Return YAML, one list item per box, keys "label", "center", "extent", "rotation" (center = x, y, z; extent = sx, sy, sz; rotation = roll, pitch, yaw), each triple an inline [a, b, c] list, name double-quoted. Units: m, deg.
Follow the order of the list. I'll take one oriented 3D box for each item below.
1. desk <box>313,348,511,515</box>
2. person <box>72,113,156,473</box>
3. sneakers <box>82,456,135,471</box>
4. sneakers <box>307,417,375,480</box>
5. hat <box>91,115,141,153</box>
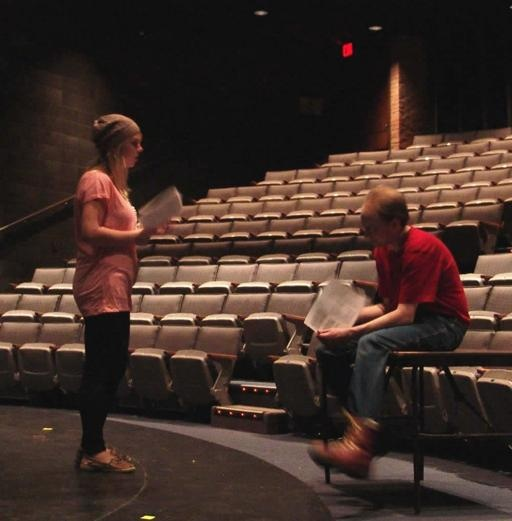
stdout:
- label: "desk"
  center: [0.442, 0.380, 1.496]
  extent: [0.441, 0.400, 0.485]
  rotation: [-9, -10, 40]
- label: "person"
  center: [-0.403, 0.084, 1.551]
  extent: [0.200, 0.755, 0.249]
  rotation: [4, 1, -21]
- label: "sneakers"
  center: [-0.406, 0.551, 1.581]
  extent: [0.153, 0.055, 0.053]
  rotation: [2, -5, -8]
- label: "sneakers"
  center: [0.201, 0.447, 1.379]
  extent: [0.110, 0.146, 0.230]
  rotation: [4, 0, -11]
- label: "hat"
  center: [-0.386, -0.374, 1.634]
  extent: [0.124, 0.088, 0.097]
  rotation: [-24, 18, -3]
